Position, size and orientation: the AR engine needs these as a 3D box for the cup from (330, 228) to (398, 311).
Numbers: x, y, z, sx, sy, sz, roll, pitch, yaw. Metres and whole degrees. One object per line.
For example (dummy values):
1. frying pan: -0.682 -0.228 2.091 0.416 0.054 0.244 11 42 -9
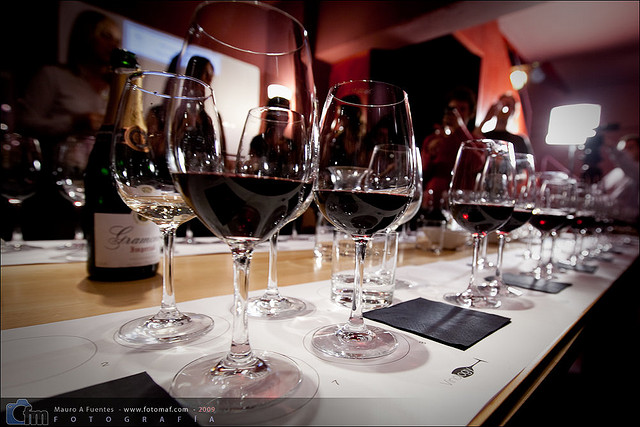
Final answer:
1. cup: 0.109 0.139 1.064 0.190 0.183 0.179 1 -6 0
